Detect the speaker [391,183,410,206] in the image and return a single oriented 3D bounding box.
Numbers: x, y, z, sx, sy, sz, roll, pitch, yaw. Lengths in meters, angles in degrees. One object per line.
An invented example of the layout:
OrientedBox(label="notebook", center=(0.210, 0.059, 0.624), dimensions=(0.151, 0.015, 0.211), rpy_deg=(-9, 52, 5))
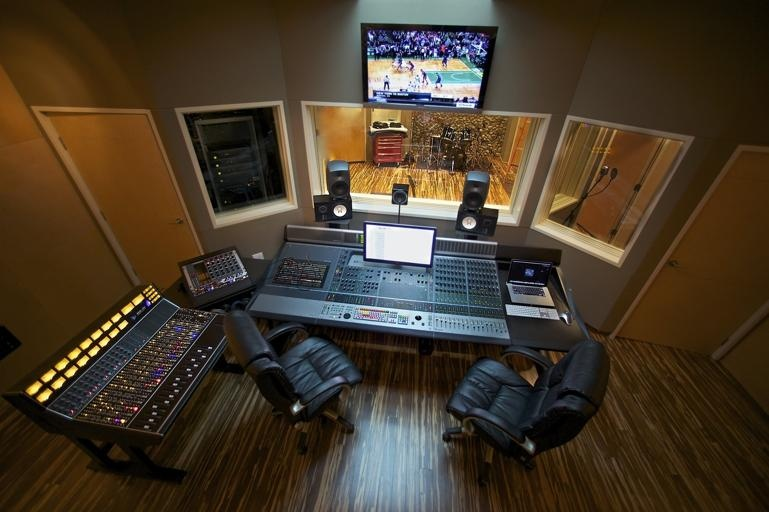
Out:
OrientedBox(label="speaker", center=(0.179, -0.683, 5.146), dimensions=(0.167, 0.309, 0.257), rpy_deg=(7, 33, 7))

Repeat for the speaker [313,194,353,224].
OrientedBox(label="speaker", center=(-0.607, -0.537, 5.099), dimensions=(0.499, 0.348, 0.284), rpy_deg=(2, 49, -4))

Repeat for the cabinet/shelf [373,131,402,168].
OrientedBox(label="cabinet/shelf", center=(0.055, -1.532, 6.375), dimensions=(0.452, 0.570, 0.391), rpy_deg=(-2, 58, 2))

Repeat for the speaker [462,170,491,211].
OrientedBox(label="speaker", center=(1.003, -0.722, 4.908), dimensions=(0.264, 0.372, 0.239), rpy_deg=(8, 33, 8))

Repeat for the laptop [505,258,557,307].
OrientedBox(label="laptop", center=(1.543, 0.304, 4.753), dimensions=(0.533, 0.395, 0.458), rpy_deg=(3, 59, 10))

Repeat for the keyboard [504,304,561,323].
OrientedBox(label="keyboard", center=(1.533, 0.587, 4.606), dimensions=(0.546, 0.059, 0.142), rpy_deg=(6, 33, 3))

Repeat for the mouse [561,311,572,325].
OrientedBox(label="mouse", center=(1.856, 0.640, 4.540), dimensions=(0.086, 0.114, 0.114), rpy_deg=(-18, 56, -7))

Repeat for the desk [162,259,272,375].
OrientedBox(label="desk", center=(-1.685, 0.617, 4.449), dimensions=(0.667, 0.918, 0.796), rpy_deg=(19, 38, 36))

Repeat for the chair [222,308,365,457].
OrientedBox(label="chair", center=(-0.910, 1.301, 4.397), dimensions=(0.695, 1.132, 0.704), rpy_deg=(-24, 53, -21))

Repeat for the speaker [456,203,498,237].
OrientedBox(label="speaker", center=(1.025, -0.376, 4.956), dimensions=(0.518, 0.363, 0.292), rpy_deg=(6, 49, 8))
